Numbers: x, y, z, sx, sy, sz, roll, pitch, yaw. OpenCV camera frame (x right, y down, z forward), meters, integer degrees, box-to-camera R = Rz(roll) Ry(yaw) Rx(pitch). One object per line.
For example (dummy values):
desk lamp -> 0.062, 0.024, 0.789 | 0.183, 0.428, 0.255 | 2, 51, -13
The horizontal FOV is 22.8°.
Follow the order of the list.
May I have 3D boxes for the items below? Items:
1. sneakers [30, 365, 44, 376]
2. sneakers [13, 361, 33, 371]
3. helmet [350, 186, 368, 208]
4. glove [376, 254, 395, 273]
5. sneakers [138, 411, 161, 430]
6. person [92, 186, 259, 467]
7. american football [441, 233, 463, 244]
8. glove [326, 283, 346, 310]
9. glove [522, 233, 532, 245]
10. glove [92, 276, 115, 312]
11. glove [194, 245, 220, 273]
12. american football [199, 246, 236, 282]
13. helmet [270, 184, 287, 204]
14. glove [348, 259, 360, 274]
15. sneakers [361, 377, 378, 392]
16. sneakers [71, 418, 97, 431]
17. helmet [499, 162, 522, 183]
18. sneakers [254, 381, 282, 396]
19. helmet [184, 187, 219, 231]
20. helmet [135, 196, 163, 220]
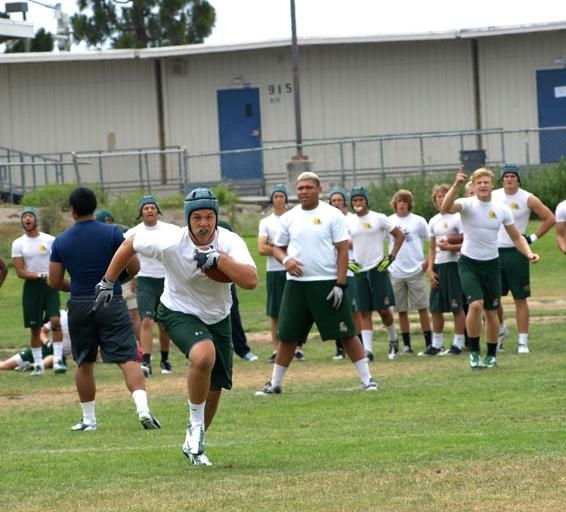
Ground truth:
sneakers -> -3.651, 1.709, 20.849 | 0.109, 0.132, 0.190 | 0, -14, -4
sneakers -> -3.950, 1.676, 21.386 | 0.204, 0.097, 0.129 | -1, -2, 3
helmet -> 1.134, -0.898, 20.849 | 0.195, 0.227, 0.244 | -1, -6, 5
glove -> 1.535, 0.122, 20.755 | 0.265, 0.237, 0.285 | -3, 3, 4
sneakers -> -1.583, 1.943, 16.668 | 0.139, 0.313, 0.152 | -23, 32, 4
person -> -0.904, 0.777, 15.654 | 1.190, 3.010, 0.684 | -3, 2, -7
american football -> 2.480, -0.242, 20.454 | 0.204, 0.124, 0.163 | -4, -5, -19
glove -> 0.690, 0.515, 18.074 | 0.236, 0.331, 0.157 | -3, 2, -5
glove -> 3.597, -0.242, 20.627 | 0.053, 0.224, 0.117 | -24, 18, -34
glove -> -2.115, 0.466, 16.569 | 0.194, 0.603, 0.307 | 10, 8, -7
glove -> -0.822, 0.009, 15.421 | 0.184, 0.309, 0.120 | -3, -32, 11
american football -> -0.697, 0.094, 15.363 | 0.271, 0.234, 0.317 | 13, -10, 5
helmet -> -0.051, -0.921, 21.204 | 0.197, 0.276, 0.241 | -1, 4, -1
glove -> 1.015, 0.174, 19.634 | 0.146, 0.057, 0.199 | 46, 4, 22
sneakers -> 1.139, 1.665, 18.202 | 0.216, 0.153, 0.222 | -3, 3, 3
sneakers -> -2.380, 2.032, 16.901 | 0.319, 0.153, 0.120 | 3, -6, 4
helmet -> 3.338, -1.207, 20.517 | 0.211, 0.241, 0.251 | -1, -9, 9
sneakers -> -0.198, 1.749, 18.480 | 0.360, 0.177, 0.150 | 2, -3, 2
helmet -> -0.900, -0.486, 15.774 | 0.386, 0.514, 0.530 | -5, -3, -5
helmet -> -1.960, -0.734, 20.632 | 0.353, 0.362, 0.373 | -1, -7, -13
